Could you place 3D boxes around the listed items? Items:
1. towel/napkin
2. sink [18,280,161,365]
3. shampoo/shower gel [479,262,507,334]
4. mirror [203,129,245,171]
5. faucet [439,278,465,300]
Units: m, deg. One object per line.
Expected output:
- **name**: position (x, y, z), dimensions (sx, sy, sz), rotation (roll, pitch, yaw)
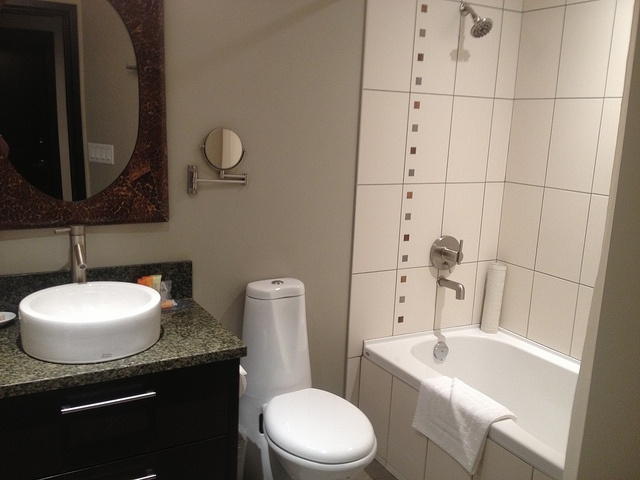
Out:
- **towel/napkin**: position (0.632, 0.792, 2.220), dimensions (0.166, 0.388, 0.377), rotation (5, 21, -47)
- **sink**: position (-0.819, 0.288, 1.775), dimensions (0.447, 0.172, 0.394), rotation (-4, 13, -26)
- **shampoo/shower gel**: position (1.050, 0.353, 2.972), dimensions (0.112, 0.420, 0.091), rotation (5, 12, 19)
- **mirror**: position (-0.446, -0.397, 2.280), dimensions (0.172, 0.193, 0.170), rotation (3, 2, -27)
- **faucet**: position (0.741, 0.274, 2.773), dimensions (0.091, 0.093, 0.284), rotation (1, 12, -3)
